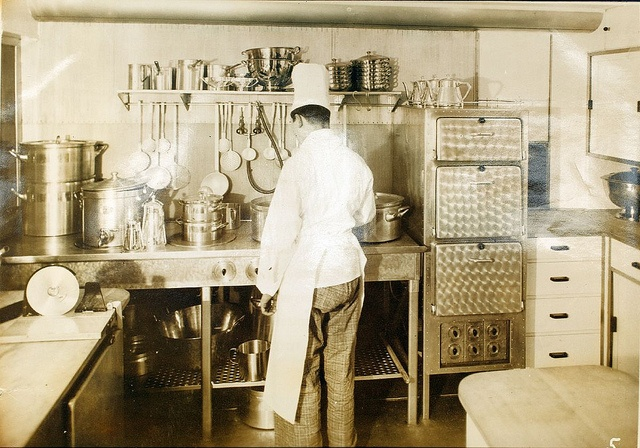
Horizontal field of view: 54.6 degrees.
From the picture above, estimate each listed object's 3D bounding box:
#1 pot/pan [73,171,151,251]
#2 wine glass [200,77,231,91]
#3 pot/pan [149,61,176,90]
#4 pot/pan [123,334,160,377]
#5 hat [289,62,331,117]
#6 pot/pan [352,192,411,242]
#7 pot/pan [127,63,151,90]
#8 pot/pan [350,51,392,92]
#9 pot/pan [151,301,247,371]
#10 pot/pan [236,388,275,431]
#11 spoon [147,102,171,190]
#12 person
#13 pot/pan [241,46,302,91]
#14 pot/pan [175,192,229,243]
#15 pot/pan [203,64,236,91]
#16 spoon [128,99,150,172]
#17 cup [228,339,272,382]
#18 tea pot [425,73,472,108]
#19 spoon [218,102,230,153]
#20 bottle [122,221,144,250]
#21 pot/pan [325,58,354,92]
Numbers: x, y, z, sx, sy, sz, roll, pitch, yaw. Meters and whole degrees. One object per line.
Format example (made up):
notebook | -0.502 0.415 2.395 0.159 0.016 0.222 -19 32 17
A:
pot/pan | -1.128 -0.082 3.380 0.434 0.336 0.388 -2 10 -19
wine glass | -0.595 -0.809 3.636 0.116 0.067 0.110 -1 11 -3
pot/pan | -0.935 -0.870 3.687 0.124 0.145 0.137 -7 9 -39
pot/pan | -1.034 0.768 3.605 0.207 0.173 0.195 0 -3 -19
hat | -0.002 -0.672 3.144 0.251 0.251 0.250 -1 0 3
pot/pan | 0.353 -0.075 3.565 0.371 0.222 0.264 0 5 -1
pot/pan | -1.063 -0.869 3.677 0.178 0.160 0.108 4 9 4
pot/pan | 0.311 -0.907 3.741 0.286 0.230 0.209 -1 18 5
pot/pan | -0.762 0.609 3.679 0.453 0.160 0.428 0 3 0
pot/pan | -0.358 1.050 3.501 0.270 0.178 0.255 2 5 -2
spoon | -0.998 -0.468 3.821 0.148 0.526 0.074 -4 7 -16
person | -0.012 0.199 3.111 0.616 1.974 0.298 -4 7 -14
pot/pan | -0.280 -0.913 3.688 0.385 0.182 0.270 -1 4 1
pot/pan | -0.630 -0.043 3.523 0.365 0.264 0.249 3 11 16
pot/pan | -0.598 -0.836 3.616 0.170 0.171 0.169 -4 8 -33
spoon | -1.107 -0.536 3.828 0.163 0.466 0.022 0 -3 17
cup | -0.384 0.768 3.535 0.244 0.158 0.168 0 5 2
tea pot | 0.683 -0.805 3.634 0.316 0.199 0.231 14 23 36
spoon | -0.595 -0.595 3.874 0.084 0.307 0.037 -1 7 5
bottle | -1.013 0.061 3.351 0.108 0.158 0.089 -2 7 -6
pot/pan | 0.121 -0.893 3.714 0.200 0.173 0.190 2 18 4
